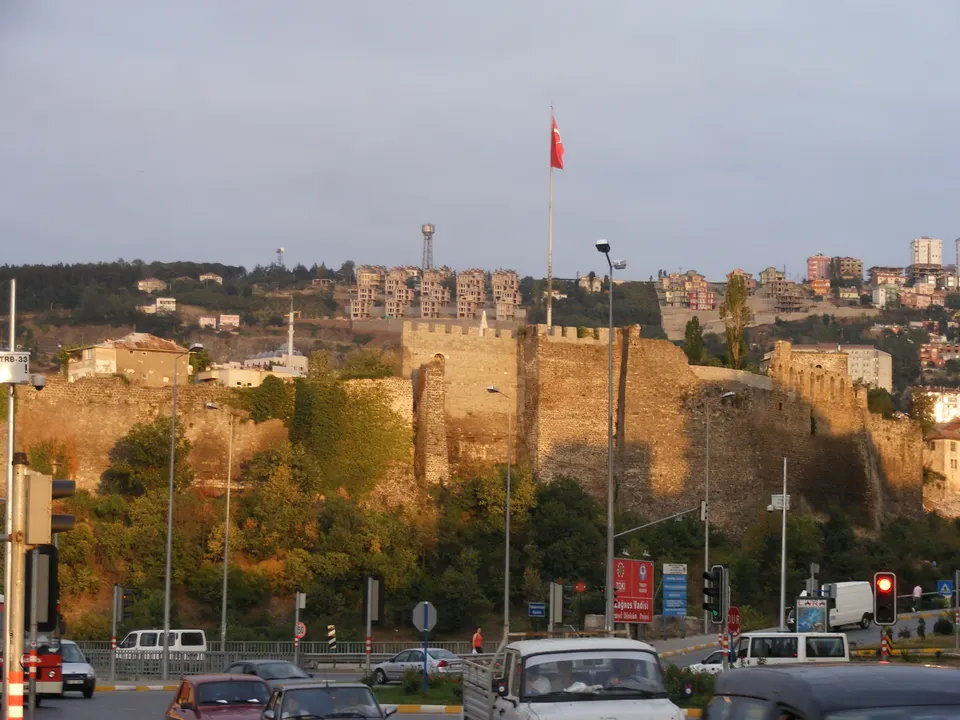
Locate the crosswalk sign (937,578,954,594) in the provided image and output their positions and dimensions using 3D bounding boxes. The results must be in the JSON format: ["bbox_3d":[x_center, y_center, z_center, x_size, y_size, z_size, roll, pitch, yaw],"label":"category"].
[{"bbox_3d":[28.706,14.071,174.422,0.819,0.730,2.346,-1,-6,4],"label":"crosswalk sign"}]

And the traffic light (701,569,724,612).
[{"bbox_3d":[12.923,12.758,156.452,0.829,2.518,1.144,4,-6,-36],"label":"traffic light"}]

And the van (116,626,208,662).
[{"bbox_3d":[-19.358,17.343,171.575,3.851,2.021,2.444,2,-7,-5],"label":"van"}]
